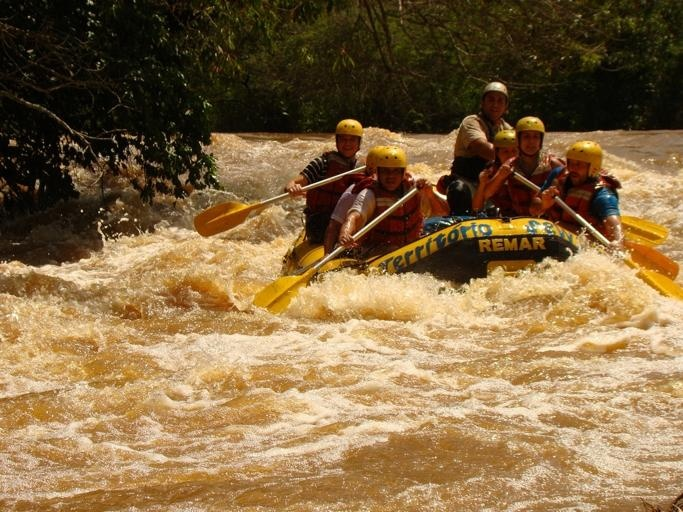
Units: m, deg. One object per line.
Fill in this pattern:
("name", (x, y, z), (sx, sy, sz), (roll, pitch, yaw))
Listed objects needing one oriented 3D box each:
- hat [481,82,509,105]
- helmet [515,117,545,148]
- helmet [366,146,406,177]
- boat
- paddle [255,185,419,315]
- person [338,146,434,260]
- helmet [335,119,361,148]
("hat", (1.814, -1.929, 11.149), (0.332, 0.198, 0.344), (1, 4, 3))
("helmet", (2.105, -1.414, 10.512), (0.284, 0.275, 0.330), (2, 2, -3))
("helmet", (0.479, -1.005, 9.937), (0.284, 0.249, 0.358), (6, 17, 13))
("boat", (1.097, -0.031, 9.590), (1.898, 0.366, 1.025), (-6, -7, 15))
("paddle", (-0.003, -0.037, 10.051), (3.197, 0.229, 0.338), (-27, 59, -28))
("person", (0.434, -0.520, 10.019), (1.210, 1.179, 0.437), (-23, 19, -25))
("helmet", (0.136, -1.461, 11.031), (0.324, 0.200, 0.234), (-8, 10, -27))
